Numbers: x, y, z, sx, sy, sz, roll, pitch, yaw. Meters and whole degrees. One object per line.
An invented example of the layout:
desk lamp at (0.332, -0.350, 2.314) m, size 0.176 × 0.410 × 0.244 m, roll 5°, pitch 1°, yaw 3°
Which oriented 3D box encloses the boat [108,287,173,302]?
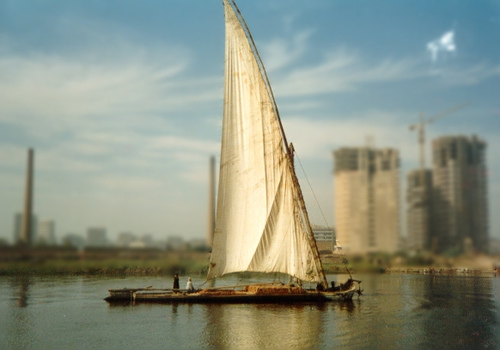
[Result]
boat at (-11.454, 11.568, 90.375) m, size 4.436 × 0.974 × 2.638 m, roll -1°, pitch -11°, yaw -1°
